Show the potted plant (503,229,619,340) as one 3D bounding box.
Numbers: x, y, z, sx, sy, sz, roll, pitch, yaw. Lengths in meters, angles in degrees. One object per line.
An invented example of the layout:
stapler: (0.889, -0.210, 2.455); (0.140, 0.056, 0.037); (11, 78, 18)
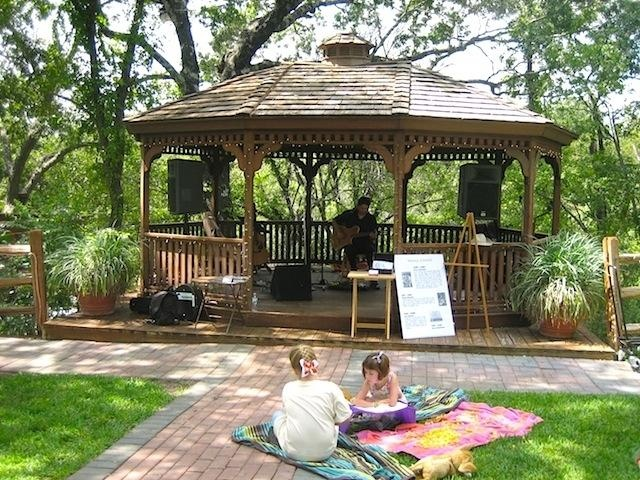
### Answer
potted plant: (4.081, 0.714, 9.603); (1.573, 1.590, 1.536); (1, 0, -34)

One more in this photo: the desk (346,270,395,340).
desk: (0.863, 1.063, 9.298); (0.790, 1.012, 0.619); (2, 5, 9)

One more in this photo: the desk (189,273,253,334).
desk: (-1.746, 1.190, 9.816); (1.096, 0.931, 0.945); (1, -1, 14)

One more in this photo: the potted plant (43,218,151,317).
potted plant: (-4.148, 0.561, 10.407); (1.341, 1.252, 1.321); (1, 15, -23)

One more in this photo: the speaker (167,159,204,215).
speaker: (-2.815, -1.135, 11.606); (0.497, 1.660, 1.133); (1, -2, 10)
